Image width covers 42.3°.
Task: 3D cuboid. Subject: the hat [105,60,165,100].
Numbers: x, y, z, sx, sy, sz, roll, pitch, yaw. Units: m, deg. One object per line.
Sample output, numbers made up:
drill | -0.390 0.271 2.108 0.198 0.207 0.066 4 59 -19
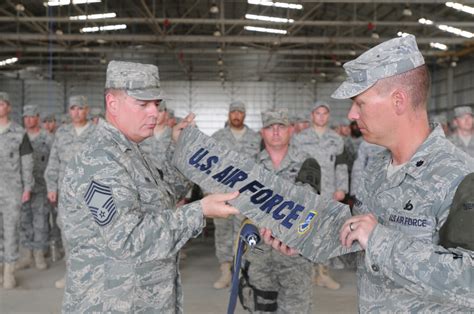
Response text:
hat | -1.091 -0.887 6.636 0.819 0.347 0.623 17 19 37

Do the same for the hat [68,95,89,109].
hat | -2.349 -0.806 8.945 0.238 0.134 0.362 0 2 -11

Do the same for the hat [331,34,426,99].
hat | 1.398 -0.902 6.189 0.880 0.331 0.589 -23 20 15

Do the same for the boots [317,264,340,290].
boots | 1.361 1.762 9.135 0.172 0.340 0.498 -11 8 -30
